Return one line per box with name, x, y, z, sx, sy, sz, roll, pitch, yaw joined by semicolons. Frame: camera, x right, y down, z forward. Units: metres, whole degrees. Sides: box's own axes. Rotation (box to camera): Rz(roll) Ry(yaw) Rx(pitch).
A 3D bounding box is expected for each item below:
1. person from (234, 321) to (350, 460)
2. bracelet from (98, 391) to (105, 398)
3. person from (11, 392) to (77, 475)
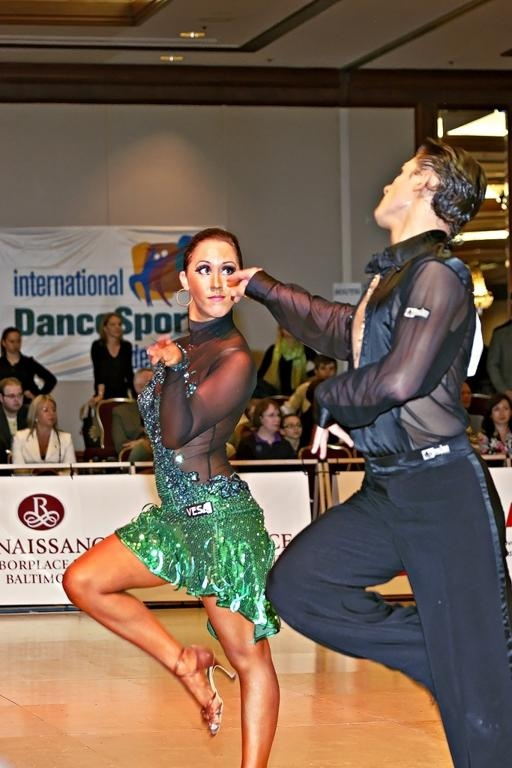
person;0.282;0.217;7.677;1.201;0.486;1.480;1;11;3
bracelet;-1.939;0.120;9.134;0.059;0.071;0.020;-3;-13;8
person;-1.794;0.472;6.153;0.552;0.692;0.408;3;-6;-18
